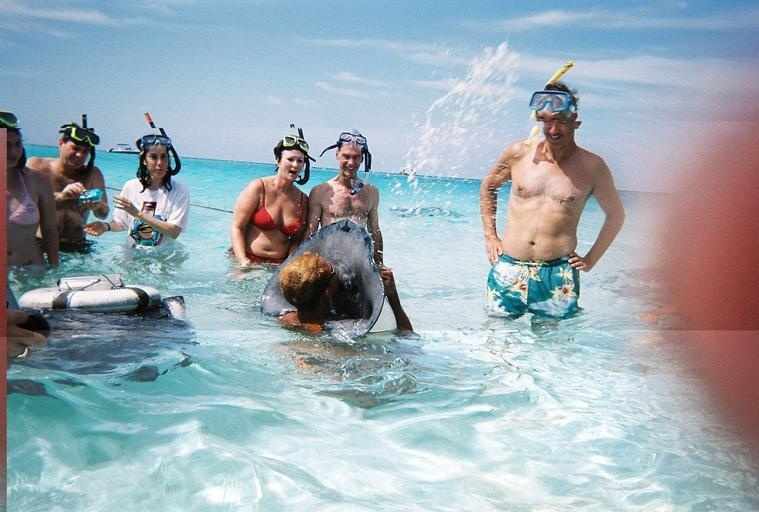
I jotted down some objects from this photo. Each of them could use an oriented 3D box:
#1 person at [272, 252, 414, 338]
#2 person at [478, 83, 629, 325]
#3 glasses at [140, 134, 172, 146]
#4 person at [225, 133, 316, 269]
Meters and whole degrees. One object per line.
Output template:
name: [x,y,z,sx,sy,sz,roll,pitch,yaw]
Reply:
person: [-0.347,0.311,4.835,1.014,0.675,0.452,0,15,-9]
person: [1.714,-0.482,5.543,1.416,2.249,0.533,7,16,15]
glasses: [-2.900,-1.501,7.159,0.399,0.158,0.225,-4,15,-26]
person: [-1.338,-0.754,6.954,0.994,1.717,0.591,-1,16,-16]
